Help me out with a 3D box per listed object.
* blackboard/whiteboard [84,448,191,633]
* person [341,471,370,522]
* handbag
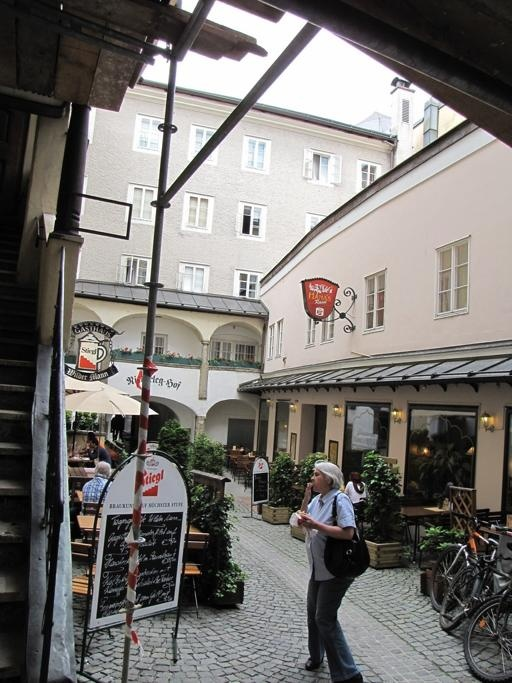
[{"bbox_3d":[-0.946,1.612,5.012,0.269,1.354,1.000,-6,-14,33],"label":"blackboard/whiteboard"},{"bbox_3d":[1.801,2.794,10.695,0.377,1.052,0.381,-14,15,-27],"label":"person"},{"bbox_3d":[0.698,1.645,4.670,0.356,0.359,0.187,3,-12,-6],"label":"handbag"}]
